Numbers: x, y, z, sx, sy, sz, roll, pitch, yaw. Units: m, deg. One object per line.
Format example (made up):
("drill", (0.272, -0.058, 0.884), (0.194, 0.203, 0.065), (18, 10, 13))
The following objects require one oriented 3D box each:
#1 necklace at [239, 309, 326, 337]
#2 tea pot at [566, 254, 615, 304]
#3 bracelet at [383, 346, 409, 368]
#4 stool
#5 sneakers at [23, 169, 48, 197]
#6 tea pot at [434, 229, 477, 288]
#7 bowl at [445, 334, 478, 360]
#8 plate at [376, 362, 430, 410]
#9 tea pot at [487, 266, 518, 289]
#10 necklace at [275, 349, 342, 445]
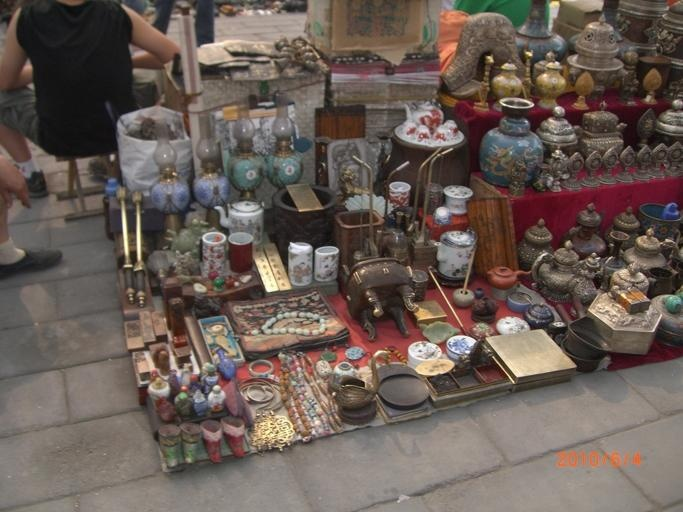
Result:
("necklace", (-0.414, 0.562, 4.644), (0.466, 0.067, 0.240), (-2, 28, -6))
("tea pot", (2.204, 0.209, 4.997), (0.263, 0.420, 0.189), (32, 51, 27))
("bracelet", (0.429, 0.783, 4.499), (0.093, 0.072, 0.271), (-2, 17, -16))
("stool", (-2.805, -0.735, 6.141), (0.655, 0.604, 0.526), (-19, 37, -30))
("sneakers", (-3.451, -0.810, 6.337), (0.144, 0.234, 0.351), (-10, 34, -23))
("tea pot", (1.047, 0.018, 5.229), (0.458, 0.474, 0.307), (-6, 28, -12))
("bowl", (0.964, 0.731, 4.601), (0.195, 0.089, 0.339), (17, 35, 25))
("plate", (0.459, 0.963, 4.153), (0.391, 0.204, 0.328), (2, 32, 3))
("tea pot", (1.463, 0.193, 5.126), (0.185, 0.138, 0.236), (12, 15, 40))
("necklace", (-0.269, 1.024, 4.165), (0.308, 0.083, 0.597), (-3, 38, -18))
